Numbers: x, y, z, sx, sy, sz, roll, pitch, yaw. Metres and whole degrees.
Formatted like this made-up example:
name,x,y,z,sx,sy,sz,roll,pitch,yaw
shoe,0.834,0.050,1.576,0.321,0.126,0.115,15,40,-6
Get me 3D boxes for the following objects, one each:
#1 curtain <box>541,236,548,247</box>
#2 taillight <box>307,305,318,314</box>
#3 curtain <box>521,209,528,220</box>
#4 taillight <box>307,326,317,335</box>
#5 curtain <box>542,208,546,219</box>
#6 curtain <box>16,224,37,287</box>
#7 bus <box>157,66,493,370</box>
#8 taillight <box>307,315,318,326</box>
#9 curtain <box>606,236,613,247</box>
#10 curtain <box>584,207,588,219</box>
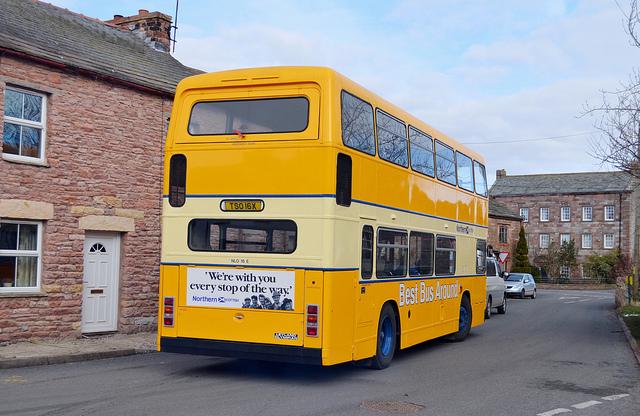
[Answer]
name,x,y,z,sx,sy,sz,roll,pitch,yaw
curtain,31.762,4.715,72.812,1.375,1.546,0.065,2,2,33
taillight,-0.138,2.082,10.647,0.263,0.249,0.142,2,-8,0
curtain,29.430,0.841,73.946,0.678,1.261,0.298,0,-3,23
taillight,-0.154,2.505,10.605,0.235,0.160,0.130,0,-1,15
curtain,31.730,0.788,72.957,0.424,1.493,0.132,1,-3,8
curtain,-8.380,1.349,14.848,0.088,1.752,0.503,-1,-4,40
bus,-0.162,0.510,11.852,3.459,4.369,8.578,-2,-5,29
taillight,-0.135,2.300,10.617,0.215,0.216,0.123,-1,-3,20
curtain,38.913,4.460,69.323,0.745,1.350,0.226,1,-3,14
curtain,36.420,0.677,70.668,0.310,1.624,0.113,0,-3,25
